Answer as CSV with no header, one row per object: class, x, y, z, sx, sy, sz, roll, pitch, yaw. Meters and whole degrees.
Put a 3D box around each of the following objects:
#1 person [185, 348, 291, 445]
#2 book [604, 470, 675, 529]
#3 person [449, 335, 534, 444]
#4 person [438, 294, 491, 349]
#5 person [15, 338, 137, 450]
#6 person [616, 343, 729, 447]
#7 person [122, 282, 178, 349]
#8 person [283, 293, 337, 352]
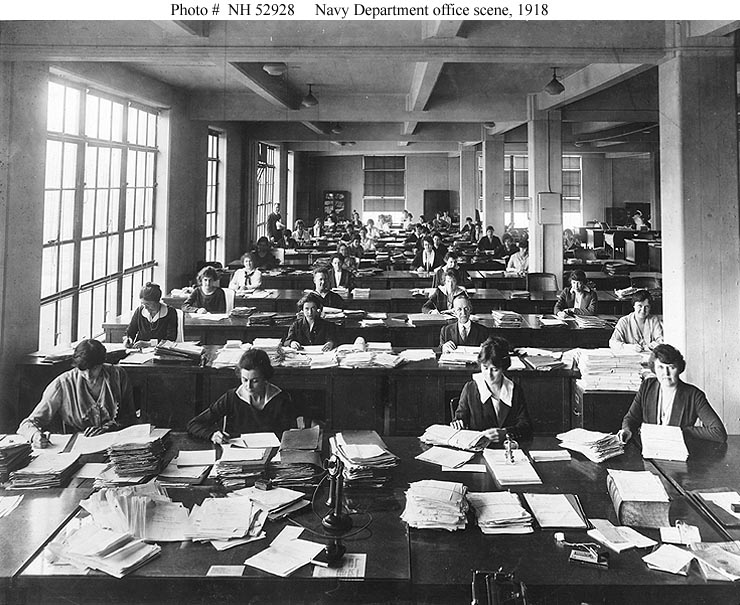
person,-0.845,0.730,4.421,0.725,0.866,0.563,3,10,-4
book,1.357,1.055,3.428,0.282,0.137,0.528,1,-7,3
person,0.855,0.793,4.578,0.561,1.013,0.516,3,5,25
person,0.940,0.199,6.639,0.506,0.892,0.499,-1,-1,3
person,-2.020,0.677,4.584,0.736,1.120,0.694,0,5,-15
person,1.975,0.851,4.383,0.667,1.071,0.450,-1,1,13
person,-2.271,0.224,6.762,0.504,0.819,0.494,4,13,7
person,-0.609,0.245,6.694,0.638,0.889,0.475,-1,0,-4
